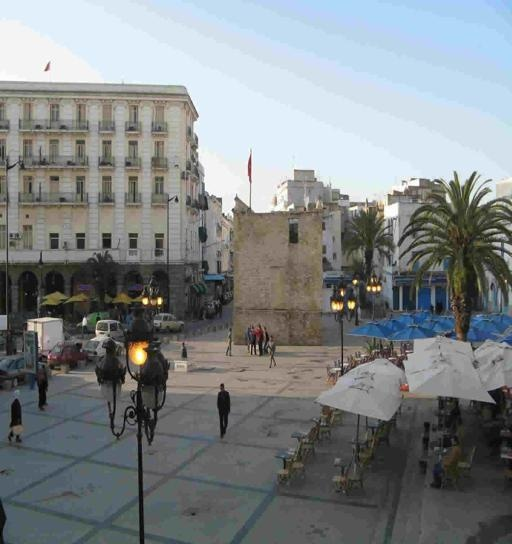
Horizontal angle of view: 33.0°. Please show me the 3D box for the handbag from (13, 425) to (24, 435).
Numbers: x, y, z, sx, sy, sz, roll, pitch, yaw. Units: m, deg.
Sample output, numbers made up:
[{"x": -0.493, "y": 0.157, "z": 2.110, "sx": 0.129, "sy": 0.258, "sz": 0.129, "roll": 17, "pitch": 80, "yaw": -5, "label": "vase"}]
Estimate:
[{"x": -7.086, "y": 4.636, "z": 25.567, "sx": 0.260, "sy": 0.345, "sz": 0.241, "roll": -1, "pitch": 6, "yaw": 0, "label": "handbag"}]

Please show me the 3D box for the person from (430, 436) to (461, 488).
[{"x": 5.013, "y": 4.879, "z": 22.723, "sx": 0.724, "sy": 0.979, "sz": 1.771, "roll": 1, "pitch": 7, "yaw": 15, "label": "person"}]

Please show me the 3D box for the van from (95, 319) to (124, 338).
[{"x": -8.165, "y": 3.020, "z": 47.623, "sx": 1.121, "sy": 1.125, "sz": 1.804, "roll": 2, "pitch": 11, "yaw": 13, "label": "van"}]

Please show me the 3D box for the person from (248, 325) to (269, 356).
[{"x": 0.075, "y": 3.310, "z": 43.131, "sx": 1.062, "sy": 1.294, "sz": 2.901, "roll": -1, "pitch": 7, "yaw": 0, "label": "person"}]
